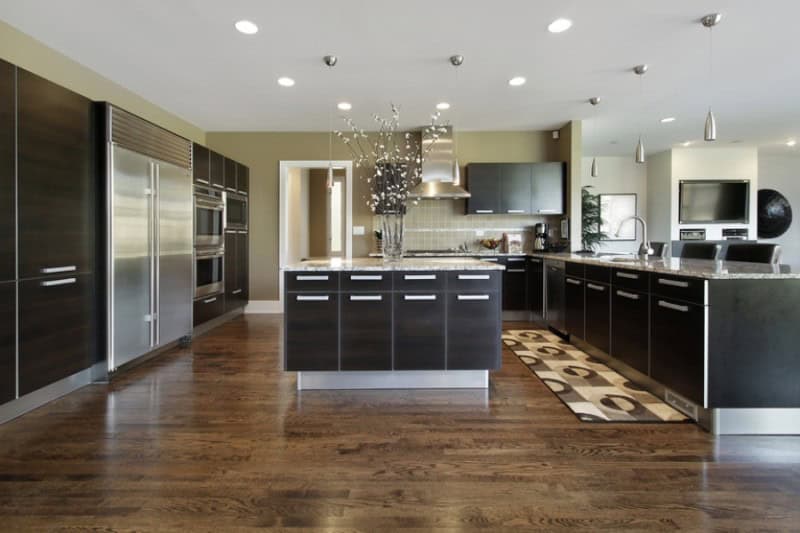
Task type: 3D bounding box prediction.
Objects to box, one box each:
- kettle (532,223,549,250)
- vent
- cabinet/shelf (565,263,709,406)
[{"bbox_3d":[1.976,-0.401,7.683,0.160,0.384,0.349,0,10,6],"label":"kettle"},{"bbox_3d":[0.538,-1.384,7.338,1.026,1.097,1.022,0,3,1],"label":"vent"},{"bbox_3d":[2.046,0.602,4.711,0.403,0.572,1.222,1,2,-1],"label":"cabinet/shelf"}]
